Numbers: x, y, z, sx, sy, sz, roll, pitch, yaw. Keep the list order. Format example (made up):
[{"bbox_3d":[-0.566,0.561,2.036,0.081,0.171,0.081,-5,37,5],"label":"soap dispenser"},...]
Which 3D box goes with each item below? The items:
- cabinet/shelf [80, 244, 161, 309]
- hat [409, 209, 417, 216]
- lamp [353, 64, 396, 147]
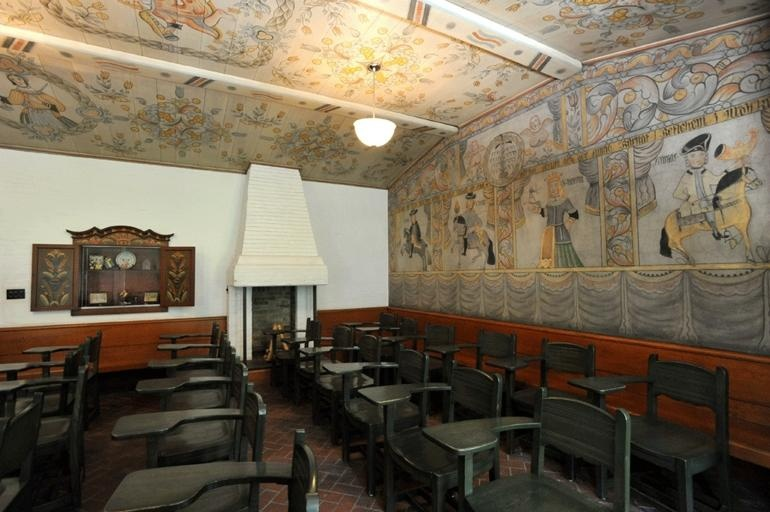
[{"bbox_3d":[-4.575,0.353,8.547,1.296,1.024,0.391,1,2,-22],"label":"cabinet/shelf"},{"bbox_3d":[0.545,-0.857,9.818,0.131,0.056,0.183,-16,-20,-36],"label":"hat"},{"bbox_3d":[-0.166,-2.091,7.529,0.540,1.110,1.492,-3,-2,0],"label":"lamp"}]
